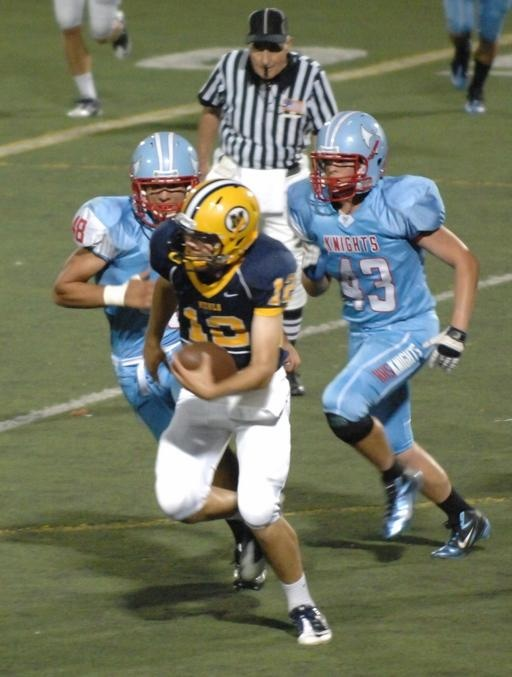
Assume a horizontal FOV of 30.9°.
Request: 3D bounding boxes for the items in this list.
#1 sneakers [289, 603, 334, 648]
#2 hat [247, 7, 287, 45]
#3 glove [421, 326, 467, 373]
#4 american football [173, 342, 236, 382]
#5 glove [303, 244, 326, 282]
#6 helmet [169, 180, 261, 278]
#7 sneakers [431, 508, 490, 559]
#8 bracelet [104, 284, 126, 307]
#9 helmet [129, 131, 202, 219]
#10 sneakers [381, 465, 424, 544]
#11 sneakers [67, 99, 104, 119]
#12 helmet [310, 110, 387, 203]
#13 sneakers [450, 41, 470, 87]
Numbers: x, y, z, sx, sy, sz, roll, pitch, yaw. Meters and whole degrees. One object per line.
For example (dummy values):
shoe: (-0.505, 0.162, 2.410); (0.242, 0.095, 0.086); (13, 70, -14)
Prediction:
sneakers: (0.141, 0.724, 2.321); (0.063, 0.053, 0.130); (-28, 0, -3)
hat: (0.068, -1.745, 5.184); (0.207, 0.125, 0.263); (2, 11, 9)
glove: (0.643, 0.037, 3.026); (0.130, 0.151, 0.072); (50, 22, 23)
american football: (-0.122, 0.051, 2.432); (0.144, 0.072, 0.102); (29, -1, -29)
glove: (0.209, -0.270, 3.290); (0.087, 0.112, 0.059); (-5, 9, 43)
helmet: (-0.132, -0.315, 2.470); (0.206, 0.187, 0.281); (25, 34, 27)
sneakers: (0.681, 0.629, 2.990); (0.268, 0.097, 0.097); (-20, 26, -38)
bracelet: (-0.447, -0.136, 2.921); (0.084, 0.058, 0.074); (7, 14, 0)
helmet: (-0.302, -0.549, 3.143); (0.250, 0.208, 0.273); (0, 23, 2)
sneakers: (0.491, 0.546, 3.053); (0.094, 0.141, 0.246); (0, 64, 51)
sneakers: (-1.760, -2.302, 9.249); (0.421, 0.128, 0.179); (1, 16, 11)
helmet: (0.319, -0.647, 3.249); (0.244, 0.210, 0.319); (11, 31, 37)
sneakers: (2.059, -2.770, 9.288); (0.225, 0.470, 0.255); (3, 5, 15)
